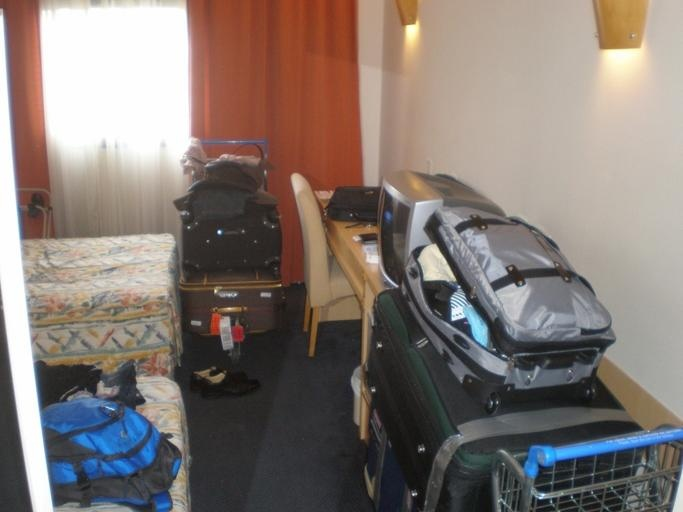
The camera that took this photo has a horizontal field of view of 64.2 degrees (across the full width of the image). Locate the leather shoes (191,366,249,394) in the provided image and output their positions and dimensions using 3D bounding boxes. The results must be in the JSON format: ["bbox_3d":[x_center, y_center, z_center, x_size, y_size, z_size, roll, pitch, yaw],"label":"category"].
[{"bbox_3d":[-0.636,0.686,2.943,0.193,0.070,0.154,1,7,-18],"label":"leather shoes"}]

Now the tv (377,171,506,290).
[{"bbox_3d":[0.377,-0.098,2.202,0.462,0.481,0.339,-19,35,-28],"label":"tv"}]

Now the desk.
[{"bbox_3d":[0.065,0.280,2.567,0.300,0.542,1.074,1,26,1],"label":"desk"}]

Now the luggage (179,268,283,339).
[{"bbox_3d":[-0.621,0.280,3.126,0.575,0.356,0.135,-6,16,-9],"label":"luggage"}]

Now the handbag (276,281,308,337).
[{"bbox_3d":[-0.334,0.372,3.897,0.257,0.258,0.445,2,1,-3],"label":"handbag"}]

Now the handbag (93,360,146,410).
[{"bbox_3d":[-0.916,0.521,2.235,0.137,0.186,0.424,0,-2,-26],"label":"handbag"}]

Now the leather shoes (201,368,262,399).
[{"bbox_3d":[-0.611,0.690,2.941,0.195,0.070,0.159,0,11,-12],"label":"leather shoes"}]

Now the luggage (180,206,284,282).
[{"bbox_3d":[-0.638,0.022,3.233,0.549,0.315,0.401,-2,57,-10],"label":"luggage"}]

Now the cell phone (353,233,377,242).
[{"bbox_3d":[0.127,-0.094,2.747,0.088,0.026,0.054,-6,21,-1],"label":"cell phone"}]

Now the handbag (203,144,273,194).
[{"bbox_3d":[-0.600,-0.494,3.150,0.295,0.117,0.314,7,35,-6],"label":"handbag"}]

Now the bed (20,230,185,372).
[{"bbox_3d":[-1.186,0.223,2.721,0.813,0.358,0.866,-2,36,-15],"label":"bed"}]

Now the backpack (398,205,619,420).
[{"bbox_3d":[0.522,0.145,1.771,0.641,0.367,0.606,-9,45,-40],"label":"backpack"}]
